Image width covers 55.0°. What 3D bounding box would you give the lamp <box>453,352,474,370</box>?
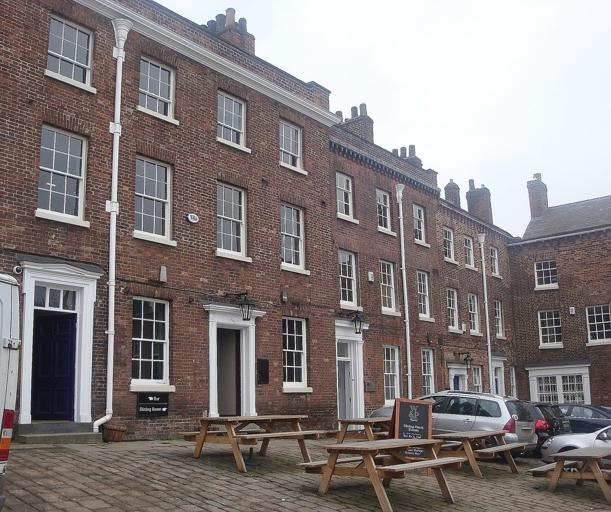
[{"bbox_3d":[7.180,4.782,26.962,0.297,0.638,1.002,-18,-25,42],"label":"lamp"}]

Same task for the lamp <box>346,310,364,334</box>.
[{"bbox_3d":[1.787,2.287,20.768,0.529,0.848,1.229,-4,-17,5],"label":"lamp"}]

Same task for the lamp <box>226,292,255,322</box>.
[{"bbox_3d":[-1.740,1.366,16.576,0.678,0.852,0.764,-14,-20,31],"label":"lamp"}]
